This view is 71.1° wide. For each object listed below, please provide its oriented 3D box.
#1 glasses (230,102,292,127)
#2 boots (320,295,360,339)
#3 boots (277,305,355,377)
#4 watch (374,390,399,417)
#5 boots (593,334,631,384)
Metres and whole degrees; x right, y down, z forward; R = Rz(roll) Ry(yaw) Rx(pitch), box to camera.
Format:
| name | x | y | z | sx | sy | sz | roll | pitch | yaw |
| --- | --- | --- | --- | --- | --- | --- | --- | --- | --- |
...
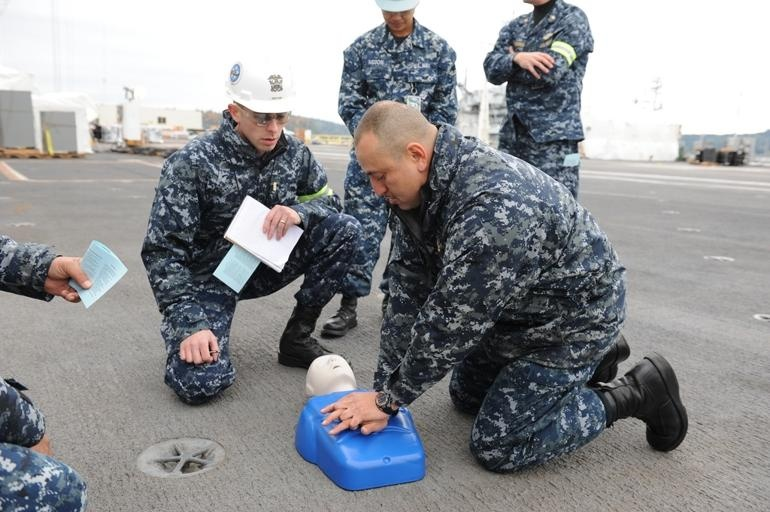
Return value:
| name | x | y | z | sx | sy | sz | roll | pitch | yaw |
| --- | --- | --- | --- | --- | --- | --- | --- | --- | --- |
| glasses | -0.731 | -0.825 | 3.161 | 0.342 | 0.111 | 0.125 | -1 | 16 | -15 |
| boots | -0.301 | 0.410 | 3.789 | 0.144 | 0.248 | 0.354 | 10 | 15 | 28 |
| boots | -0.444 | 0.509 | 3.352 | 0.397 | 0.401 | 0.180 | 10 | 11 | 6 |
| watch | 0.020 | 0.676 | 2.530 | 0.118 | 0.090 | 0.069 | 38 | 9 | -3 |
| boots | 1.159 | 0.538 | 2.802 | 0.093 | 0.195 | 0.283 | 28 | 73 | 39 |
